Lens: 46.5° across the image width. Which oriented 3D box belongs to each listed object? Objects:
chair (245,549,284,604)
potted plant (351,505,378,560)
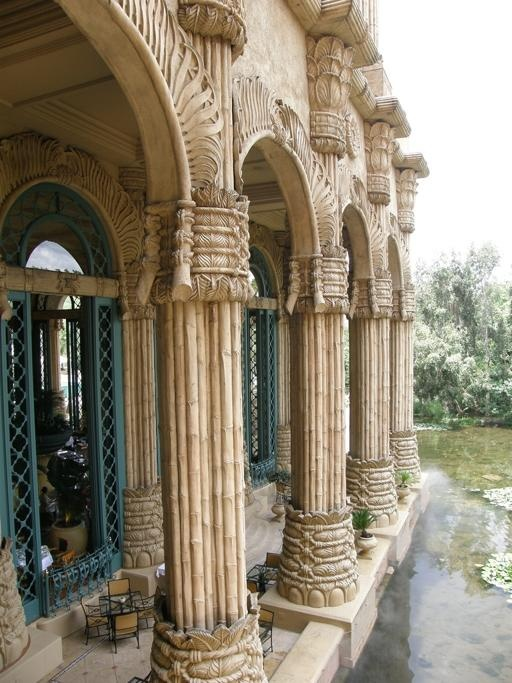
[{"bbox_3d":[0.047,2.754,7.011,0.415,0.414,0.609,-1,-9,22],"label":"chair"},{"bbox_3d":[1.451,2.494,8.041,0.296,0.369,1.030,-4,-3,9],"label":"potted plant"}]
